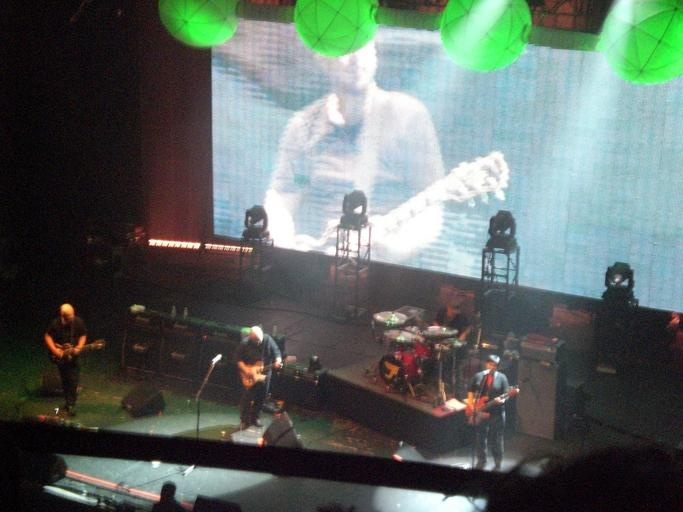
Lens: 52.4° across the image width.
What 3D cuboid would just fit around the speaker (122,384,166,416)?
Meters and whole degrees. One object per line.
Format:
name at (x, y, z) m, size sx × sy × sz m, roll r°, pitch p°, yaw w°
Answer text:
speaker at (-3.233, 2.351, 11.382) m, size 0.522 × 0.317 × 0.510 m, roll 20°, pitch 33°, yaw 34°

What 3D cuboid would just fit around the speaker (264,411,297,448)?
speaker at (-0.874, 2.506, 9.972) m, size 0.341 × 0.326 × 0.599 m, roll -17°, pitch -37°, yaw 3°

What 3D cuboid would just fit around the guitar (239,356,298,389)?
guitar at (-1.213, 1.916, 11.405) m, size 0.634 × 0.255 × 0.082 m, roll -13°, pitch -14°, yaw -31°

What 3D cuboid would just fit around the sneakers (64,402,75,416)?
sneakers at (-4.410, 2.483, 11.257) m, size 0.099 × 0.106 × 0.159 m, roll 26°, pitch 29°, yaw -40°

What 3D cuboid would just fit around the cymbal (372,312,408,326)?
cymbal at (0.850, 1.099, 11.867) m, size 0.512 × 0.184 × 0.717 m, roll 8°, pitch 6°, yaw -10°

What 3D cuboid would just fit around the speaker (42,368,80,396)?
speaker at (-4.827, 2.131, 11.862) m, size 0.507 × 0.409 × 0.610 m, roll 2°, pitch 0°, yaw -19°

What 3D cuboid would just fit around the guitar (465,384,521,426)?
guitar at (2.200, 2.234, 10.392) m, size 0.645 × 0.441 × 0.303 m, roll 10°, pitch 5°, yaw 10°

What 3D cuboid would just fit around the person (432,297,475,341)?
person at (1.986, 1.097, 12.085) m, size 0.463 × 1.068 × 0.373 m, roll 10°, pitch 13°, yaw 38°
